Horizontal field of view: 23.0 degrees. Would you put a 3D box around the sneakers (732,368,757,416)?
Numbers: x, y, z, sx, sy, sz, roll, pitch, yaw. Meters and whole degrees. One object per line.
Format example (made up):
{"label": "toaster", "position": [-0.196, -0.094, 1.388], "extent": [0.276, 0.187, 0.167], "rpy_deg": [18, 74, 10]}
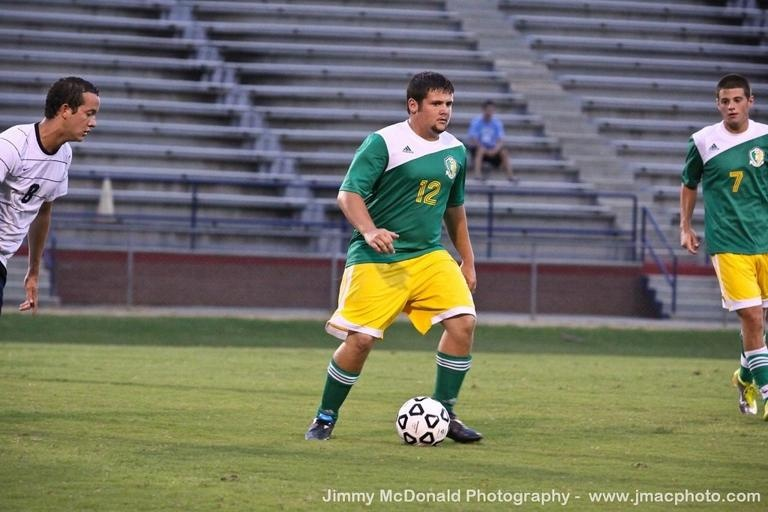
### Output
{"label": "sneakers", "position": [4.314, 1.603, 22.667], "extent": [0.243, 0.565, 0.263], "rpy_deg": [-10, -27, 10]}

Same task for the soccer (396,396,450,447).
{"label": "soccer", "position": [0.462, 1.890, 21.593], "extent": [0.442, 0.400, 0.475], "rpy_deg": [4, 42, 43]}
